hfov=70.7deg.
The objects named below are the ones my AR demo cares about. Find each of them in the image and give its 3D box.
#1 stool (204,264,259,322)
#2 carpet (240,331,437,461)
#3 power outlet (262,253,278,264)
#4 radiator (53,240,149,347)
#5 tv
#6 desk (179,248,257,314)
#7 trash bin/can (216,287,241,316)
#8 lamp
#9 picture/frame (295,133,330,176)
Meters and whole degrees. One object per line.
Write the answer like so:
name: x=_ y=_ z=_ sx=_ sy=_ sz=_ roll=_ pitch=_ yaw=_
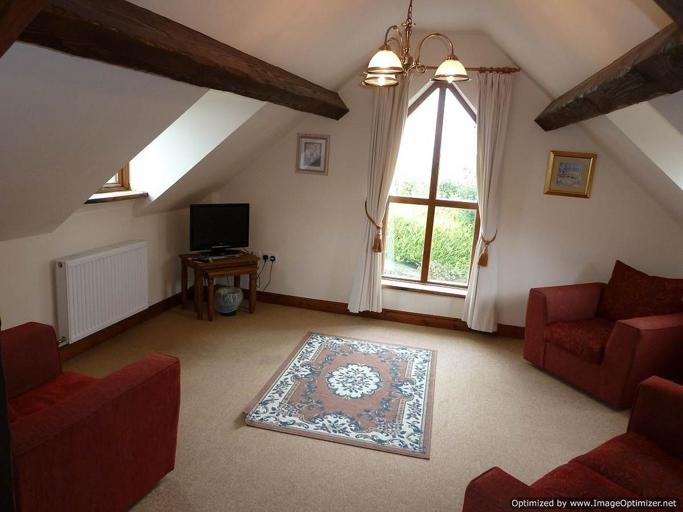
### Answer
stool: x=-1.302 y=0.252 z=5.649 sx=0.689 sy=0.711 sz=0.550 roll=-9 pitch=23 yaw=-27
carpet: x=0.074 y=1.180 z=4.294 sx=1.476 sy=0.351 sz=1.522 roll=5 pitch=5 yaw=12
power outlet: x=-0.889 y=0.021 z=6.025 sx=0.160 sy=0.123 sz=0.041 roll=1 pitch=4 yaw=6
radiator: x=-2.266 y=0.333 z=4.477 sx=0.116 sy=0.678 sz=0.893 roll=4 pitch=11 yaw=15
tv: x=-1.421 y=-0.297 z=5.554 sx=0.548 sy=0.448 sz=0.151 roll=-9 pitch=17 yaw=-33
desk: x=-1.487 y=0.253 z=5.675 sx=0.798 sy=0.718 sz=0.754 roll=-10 pitch=26 yaw=-33
trash bin/can: x=-1.300 y=0.513 z=5.554 sx=0.269 sy=0.290 sz=0.309 roll=0 pitch=0 yaw=-22
lamp: x=0.639 y=-1.880 z=4.167 sx=0.694 sy=1.125 sz=0.874 roll=8 pitch=22 yaw=27
picture/frame: x=-0.333 y=-1.220 z=5.668 sx=0.405 sy=0.498 sz=0.034 roll=6 pitch=14 yaw=9
